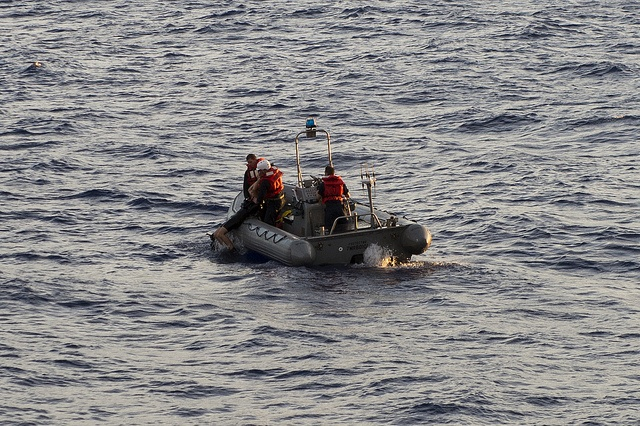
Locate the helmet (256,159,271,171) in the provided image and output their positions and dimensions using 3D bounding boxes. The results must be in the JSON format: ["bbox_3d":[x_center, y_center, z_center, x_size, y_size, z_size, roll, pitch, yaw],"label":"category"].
[{"bbox_3d":[-1.711,-1.420,50.835,0.501,0.273,0.276,-7,32,16],"label":"helmet"}]

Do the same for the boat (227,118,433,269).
[{"bbox_3d":[-0.477,-0.188,51.309,4.349,2.842,6.657,-10,12,-30],"label":"boat"}]

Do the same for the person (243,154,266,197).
[{"bbox_3d":[-2.039,-1.061,51.477,0.644,1.312,1.583,0,13,-5],"label":"person"}]

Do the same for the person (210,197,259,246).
[{"bbox_3d":[-2.456,0.302,51.326,1.067,1.669,0.697,39,0,4],"label":"person"}]
